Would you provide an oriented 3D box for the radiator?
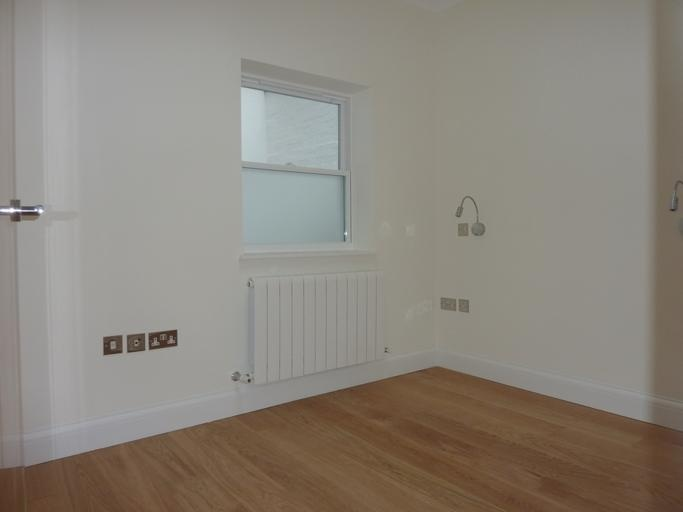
[{"bbox_3d":[-0.223,0.479,3.374,0.783,0.510,0.091,0,-3,-38],"label":"radiator"}]
